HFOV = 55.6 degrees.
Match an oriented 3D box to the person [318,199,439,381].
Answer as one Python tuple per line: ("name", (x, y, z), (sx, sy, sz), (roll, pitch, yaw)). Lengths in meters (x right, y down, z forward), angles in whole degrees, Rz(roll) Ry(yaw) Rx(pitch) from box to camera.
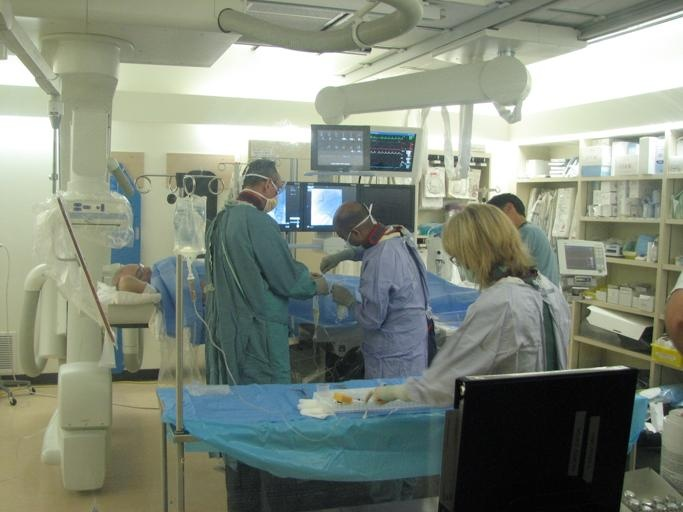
("person", (0.215, 0.325, 3.557), (0.498, 1.254, 0.613), (-13, 23, -31))

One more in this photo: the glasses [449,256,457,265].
("glasses", (0.520, 0.020, 3.027), (0.029, 0.017, 0.053), (18, -22, 40))

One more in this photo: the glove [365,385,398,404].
("glove", (0.154, 0.529, 2.468), (0.077, 0.042, 0.035), (-8, 38, 12))

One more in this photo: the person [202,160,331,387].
("person", (-0.405, 0.071, 3.314), (0.565, 1.108, 0.474), (1, 10, -12))

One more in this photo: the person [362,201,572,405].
("person", (0.513, 0.207, 2.418), (0.798, 0.778, 0.470), (3, 9, 3))

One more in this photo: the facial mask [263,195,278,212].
("facial mask", (-0.380, -0.280, 3.494), (0.071, 0.060, 0.065), (0, 13, -3))
